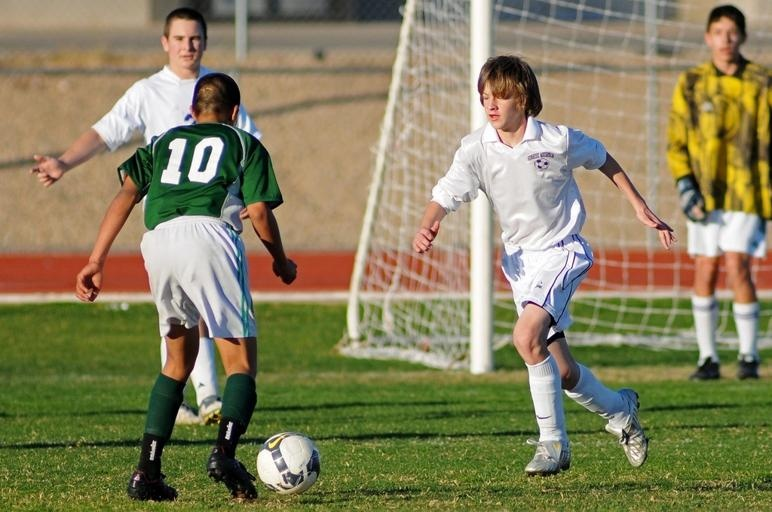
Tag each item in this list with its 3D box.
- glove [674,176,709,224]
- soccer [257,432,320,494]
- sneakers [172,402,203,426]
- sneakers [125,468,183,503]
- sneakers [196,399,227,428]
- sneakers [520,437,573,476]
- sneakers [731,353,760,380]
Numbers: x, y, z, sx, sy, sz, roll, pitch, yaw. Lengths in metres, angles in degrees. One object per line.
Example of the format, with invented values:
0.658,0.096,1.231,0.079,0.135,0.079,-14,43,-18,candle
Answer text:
3.194,-0.606,14.807,0.177,0.443,0.331,-21,-2,21,glove
-0.841,1.801,12.491,0.520,0.485,0.534,9,7,40,soccer
-1.846,1.545,13.837,0.447,0.191,0.152,-1,-3,1,sneakers
-1.989,1.991,12.166,0.422,0.204,0.217,5,0,-25,sneakers
-1.686,1.504,13.610,0.200,0.266,0.562,-1,-8,-18,sneakers
1.431,1.786,12.464,0.218,0.206,0.460,-6,-5,39,sneakers
3.844,1.185,15.039,0.292,0.294,0.182,-1,5,-11,sneakers
